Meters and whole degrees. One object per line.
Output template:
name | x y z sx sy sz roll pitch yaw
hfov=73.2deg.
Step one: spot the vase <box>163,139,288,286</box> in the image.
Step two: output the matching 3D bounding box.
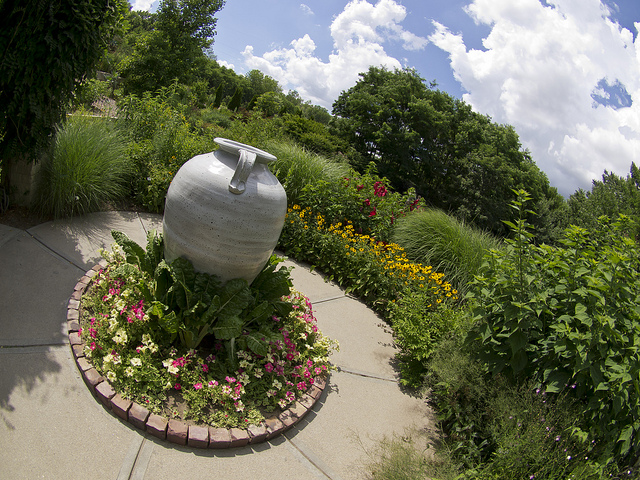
vase | -0.945 -0.284 4.275 0.995 1.474 1.052 13 23 -25
